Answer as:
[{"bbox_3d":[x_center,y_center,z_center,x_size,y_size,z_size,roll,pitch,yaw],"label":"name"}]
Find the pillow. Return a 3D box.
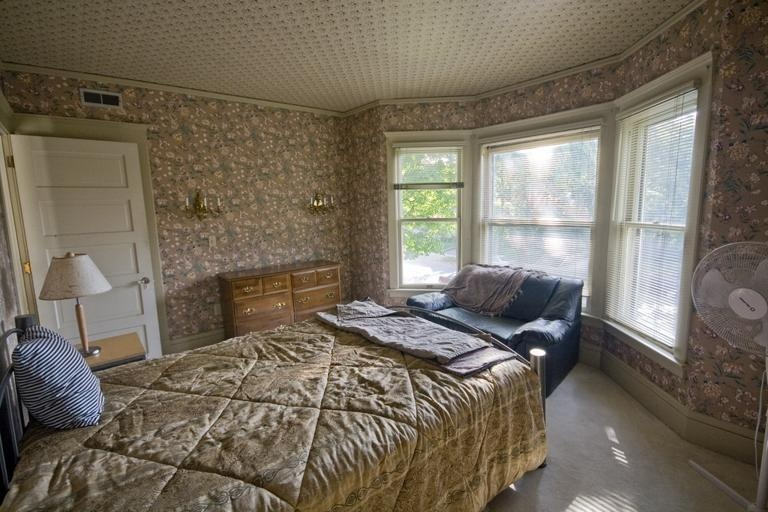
[{"bbox_3d":[-1.985,0.780,2.986,0.412,0.550,0.191,-2,9,-14],"label":"pillow"}]

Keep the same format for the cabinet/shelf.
[{"bbox_3d":[-1.158,0.466,5.094,0.877,0.678,0.306,-11,12,-40],"label":"cabinet/shelf"}]
